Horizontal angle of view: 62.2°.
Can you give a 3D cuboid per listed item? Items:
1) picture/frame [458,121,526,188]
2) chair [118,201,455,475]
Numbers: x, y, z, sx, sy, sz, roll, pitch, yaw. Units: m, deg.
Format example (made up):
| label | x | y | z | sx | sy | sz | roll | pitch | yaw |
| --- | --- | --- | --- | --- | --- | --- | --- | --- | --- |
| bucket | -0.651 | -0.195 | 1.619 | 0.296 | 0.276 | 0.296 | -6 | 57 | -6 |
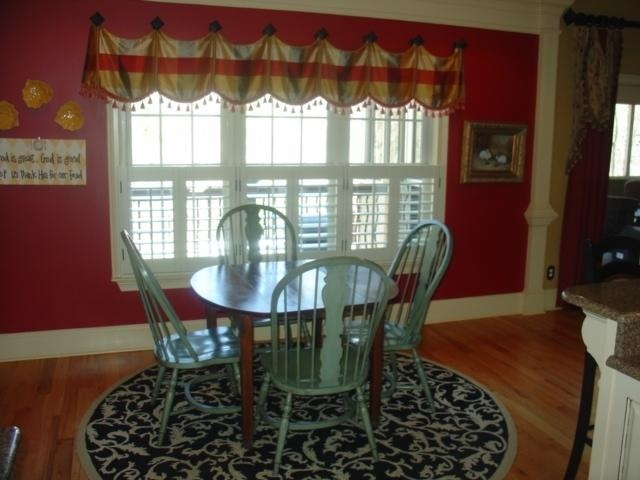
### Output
| label | x | y | z | sx | sy | sz | roll | pitch | yaw |
| --- | --- | --- | --- | --- | --- | --- | --- | --- | --- |
| picture/frame | 1.377 | -0.722 | 4.325 | 0.514 | 0.443 | 0.028 | -2 | 7 | -18 |
| chair | -0.486 | 0.624 | 3.500 | 1.556 | 1.033 | 1.595 | -2 | 12 | -9 |
